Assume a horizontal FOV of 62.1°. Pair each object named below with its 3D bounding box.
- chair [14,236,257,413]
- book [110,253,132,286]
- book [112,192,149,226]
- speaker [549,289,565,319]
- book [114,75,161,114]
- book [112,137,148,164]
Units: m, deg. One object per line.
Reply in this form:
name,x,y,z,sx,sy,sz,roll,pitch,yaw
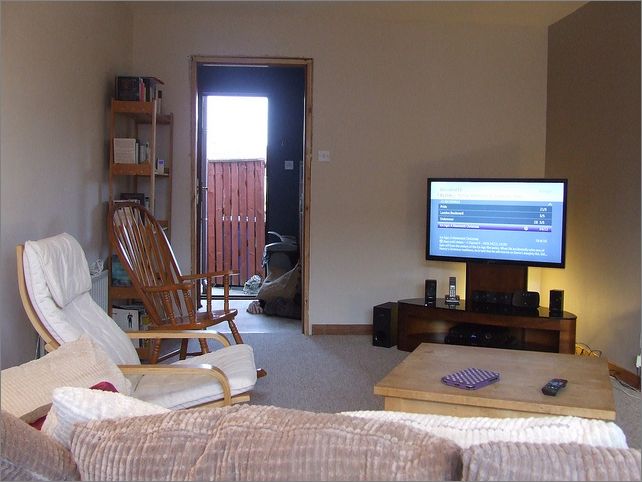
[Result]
chair,-0.886,0.360,2.732,1.128,1.111,0.754,1,2,-8
book,-1.432,0.213,3.826,0.183,0.277,0.028,-8,-10,-7
book,-1.446,-0.236,4.033,0.287,0.318,0.072,4,0,-15
speaker,1.759,0.462,3.966,0.100,0.165,0.216,3,6,25
book,-1.471,-1.204,4.280,0.446,0.286,0.322,2,3,-19
book,-1.519,-0.712,4.287,0.288,0.193,0.141,-2,6,-27
